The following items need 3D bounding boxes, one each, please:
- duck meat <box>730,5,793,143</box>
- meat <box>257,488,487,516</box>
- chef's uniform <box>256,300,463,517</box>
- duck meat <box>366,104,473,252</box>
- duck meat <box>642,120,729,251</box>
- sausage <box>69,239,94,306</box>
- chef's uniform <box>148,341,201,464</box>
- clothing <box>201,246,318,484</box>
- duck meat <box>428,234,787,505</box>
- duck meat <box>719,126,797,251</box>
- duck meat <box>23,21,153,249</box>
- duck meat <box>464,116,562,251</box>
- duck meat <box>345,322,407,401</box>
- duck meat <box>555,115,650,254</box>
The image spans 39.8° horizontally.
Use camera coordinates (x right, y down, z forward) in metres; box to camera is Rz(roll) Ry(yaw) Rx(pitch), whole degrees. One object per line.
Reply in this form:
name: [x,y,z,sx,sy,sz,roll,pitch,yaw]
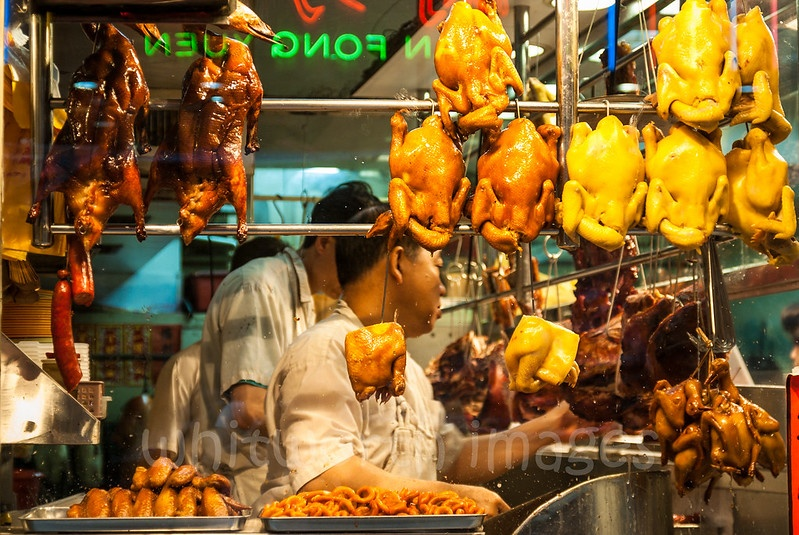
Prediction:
duck meat: [1.271,-0.674,3.903,0.138,0.433,0.234,1,-30,-25]
meat: [-0.096,0.826,3.901,0.773,0.105,0.309,-4,-7,2]
chef's uniform: [-0.102,0.672,4.654,0.609,1.039,1.137,-10,-20,24]
duck meat: [0.084,-0.285,3.969,0.347,0.502,0.147,4,-6,-10]
duck meat: [1.003,-0.277,3.927,0.268,0.447,0.137,3,-1,1]
sausage: [-1.164,0.014,4.030,0.077,0.330,0.081,-3,-25,-20]
chef's uniform: [-0.882,0.517,4.272,0.121,0.390,0.365,7,-9,10]
clothing: [-0.688,0.478,4.906,0.574,1.299,0.900,2,-11,-12]
duck meat: [0.962,0.355,4.514,1.057,0.803,0.457,9,4,15]
duck meat: [1.279,-0.283,3.911,0.244,0.407,0.161,-2,9,14]
duck meat: [-1.094,-0.456,3.976,0.337,0.892,0.288,5,4,-21]
duck meat: [0.412,-0.263,3.895,0.288,0.490,0.147,6,1,10]
duck meat: [-0.075,0.342,4.028,0.215,0.283,0.169,-5,-7,17]
duck meat: [0.712,-0.295,3.864,0.265,0.494,0.182,1,-5,3]
